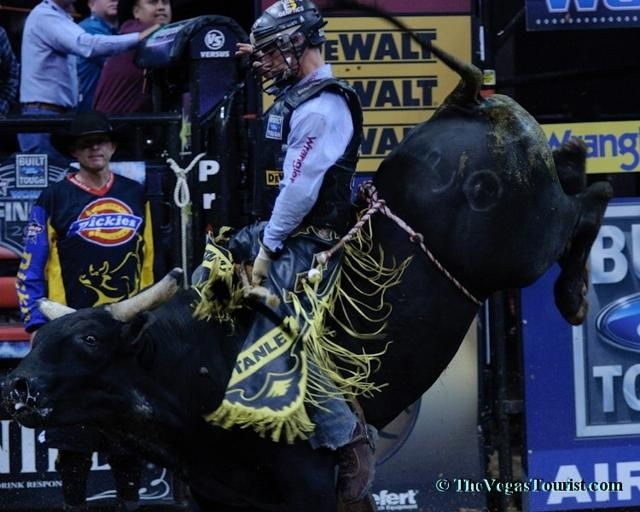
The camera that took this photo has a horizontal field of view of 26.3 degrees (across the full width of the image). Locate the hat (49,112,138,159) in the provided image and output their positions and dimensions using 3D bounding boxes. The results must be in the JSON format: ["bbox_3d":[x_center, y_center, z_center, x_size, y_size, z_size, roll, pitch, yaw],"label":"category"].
[{"bbox_3d":[-1.461,-0.746,8.738,0.345,0.138,0.375,-3,-14,-13],"label":"hat"}]

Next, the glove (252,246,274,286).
[{"bbox_3d":[-0.309,0.056,7.573,0.070,0.258,0.084,12,-10,8],"label":"glove"}]
